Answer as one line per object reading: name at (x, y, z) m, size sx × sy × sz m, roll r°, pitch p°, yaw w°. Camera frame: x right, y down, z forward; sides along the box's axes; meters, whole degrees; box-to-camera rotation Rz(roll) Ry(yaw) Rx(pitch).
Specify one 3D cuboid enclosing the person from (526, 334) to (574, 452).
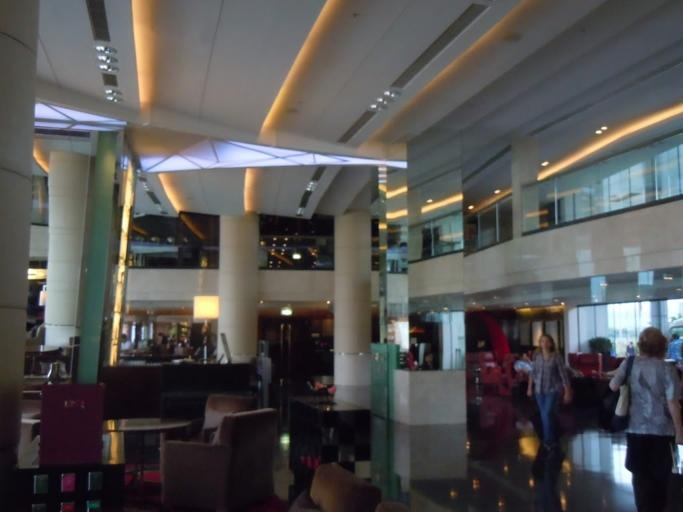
person at (3.154, 2.015, 8.127) m, size 0.571 × 1.644 × 0.815 m, roll -2°, pitch -8°, yaw 18°
